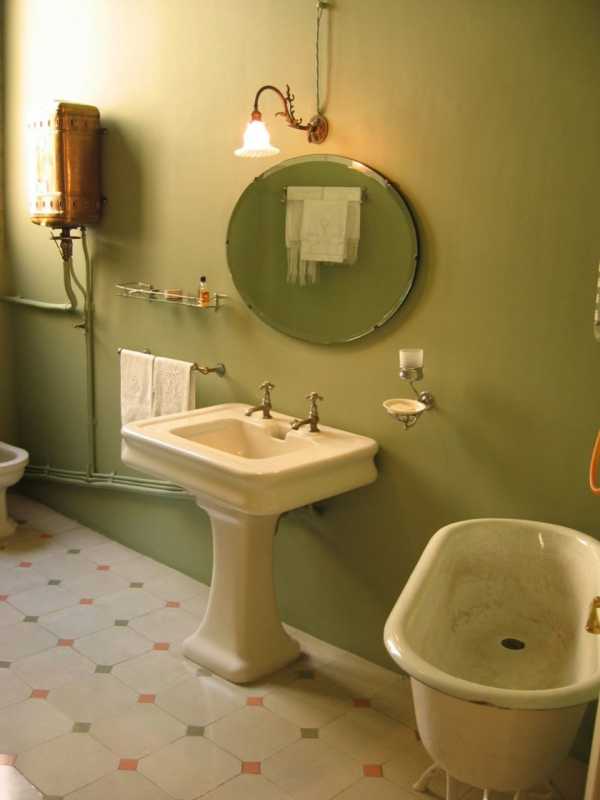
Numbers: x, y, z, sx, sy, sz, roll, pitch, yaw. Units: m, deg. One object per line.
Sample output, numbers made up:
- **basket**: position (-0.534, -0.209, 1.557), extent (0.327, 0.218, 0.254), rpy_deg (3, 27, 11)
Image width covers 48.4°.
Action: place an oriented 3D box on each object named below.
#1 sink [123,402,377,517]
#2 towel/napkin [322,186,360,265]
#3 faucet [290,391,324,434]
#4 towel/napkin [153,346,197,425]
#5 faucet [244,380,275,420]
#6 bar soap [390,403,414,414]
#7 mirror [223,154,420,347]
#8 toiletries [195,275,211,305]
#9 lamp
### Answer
- **sink**: position (-0.184, 0.208, 2.257), extent (0.756, 0.272, 0.552), rpy_deg (9, 11, 43)
- **towel/napkin**: position (0.125, -0.570, 2.167), extent (0.165, 0.232, 0.021), rpy_deg (16, 17, 36)
- **faucet**: position (0.038, 0.040, 2.289), extent (0.083, 0.148, 0.150), rpy_deg (7, 13, 41)
- **towel/napkin**: position (-0.512, -0.046, 2.711), extent (0.271, 0.298, 0.060), rpy_deg (12, 16, 44)
- **faucet**: position (-0.124, -0.005, 2.434), extent (0.076, 0.151, 0.152), rpy_deg (10, 16, 38)
- **bar soap**: position (0.290, 0.024, 1.882), extent (0.057, 0.019, 0.100), rpy_deg (3, 8, 8)
- **mirror**: position (0.092, -0.501, 2.210), extent (0.067, 0.515, 0.653), rpy_deg (-14, 20, -42)
- **toiletries**: position (-0.384, -0.434, 2.665), extent (0.047, 0.122, 0.164), rpy_deg (0, 8, -9)
- **lamp**: position (-0.081, -0.914, 2.224), extent (0.202, 0.291, 0.399), rpy_deg (18, 27, 41)
